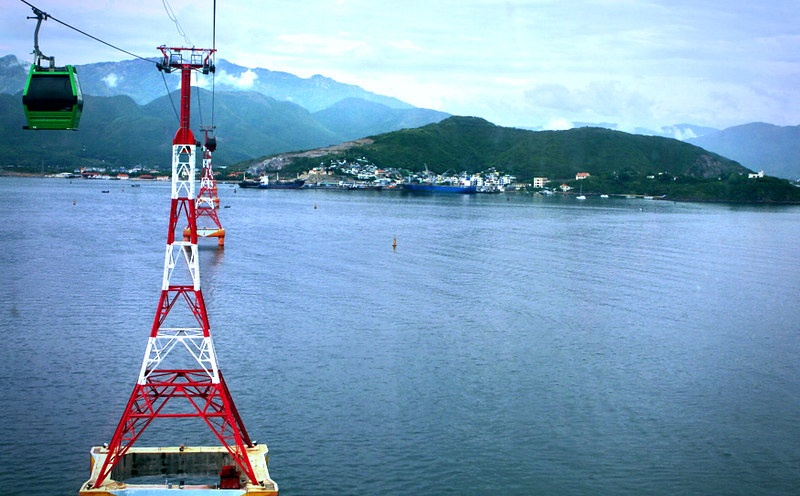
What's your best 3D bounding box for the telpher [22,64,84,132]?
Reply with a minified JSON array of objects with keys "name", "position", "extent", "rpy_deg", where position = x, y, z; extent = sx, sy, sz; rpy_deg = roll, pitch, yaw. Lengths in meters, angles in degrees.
[{"name":"telpher","position":[-18.131,-8.322,47.270],"extent":[4.934,3.412,4.269],"rpy_deg":[-2,9,-26]}]
